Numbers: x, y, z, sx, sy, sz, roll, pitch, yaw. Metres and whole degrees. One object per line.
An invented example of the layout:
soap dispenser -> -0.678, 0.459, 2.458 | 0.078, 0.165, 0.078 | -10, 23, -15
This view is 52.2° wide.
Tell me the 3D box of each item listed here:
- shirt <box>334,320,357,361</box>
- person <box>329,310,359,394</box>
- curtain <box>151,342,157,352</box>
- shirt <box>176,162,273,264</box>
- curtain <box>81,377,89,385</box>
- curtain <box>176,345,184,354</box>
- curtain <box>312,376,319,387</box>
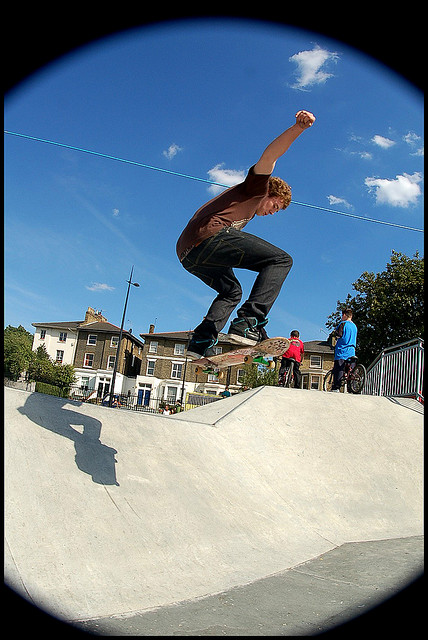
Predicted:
shirt -> 2.641, 0.414, 8.815 | 0.381, 0.641, 0.392 | 2, -1, 19
person -> 2.630, 0.615, 8.783 | 0.433, 1.308, 0.638 | 2, -1, 22
curtain -> -6.662, 2.936, 47.858 | 0.599, 0.945, 0.575 | 2, -1, 4
shirt -> 0.089, -0.859, 3.607 | 0.890, 0.648, 0.363 | 1, -1, 35
curtain -> -13.785, 6.492, 46.602 | 0.865, 0.727, 0.427 | 2, -1, 1
curtain -> -3.689, 3.139, 46.994 | 0.875, 0.970, 0.054 | 6, 3, -1
curtain -> 10.098, 6.090, 43.444 | 0.999, 1.045, 0.238 | 3, -1, 29
